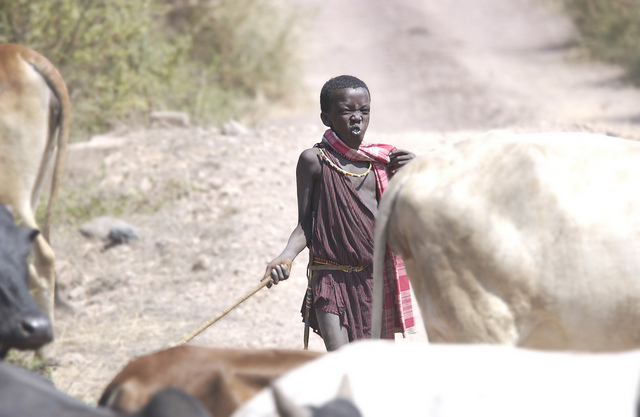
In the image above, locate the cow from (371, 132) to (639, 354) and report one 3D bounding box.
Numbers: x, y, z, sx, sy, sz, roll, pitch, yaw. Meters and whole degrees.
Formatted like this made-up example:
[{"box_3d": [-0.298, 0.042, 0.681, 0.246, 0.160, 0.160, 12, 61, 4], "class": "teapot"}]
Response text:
[{"box_3d": [3.726, 0.415, 22.942, 5.587, 2.962, 1.752, -4, 7, -8], "class": "cow"}]
